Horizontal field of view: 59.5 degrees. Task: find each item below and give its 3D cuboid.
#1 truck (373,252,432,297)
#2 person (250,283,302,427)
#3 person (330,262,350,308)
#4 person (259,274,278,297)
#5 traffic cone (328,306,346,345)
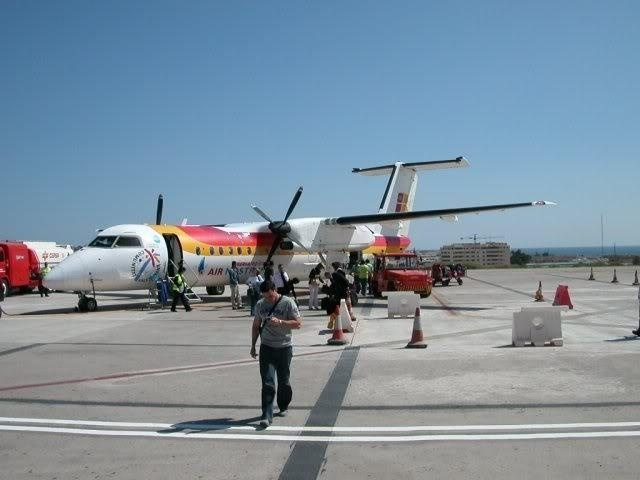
[{"bbox_3d":[3.683,1.630,25.685,1.877,1.294,2.721,1,-6,-13],"label":"truck"},{"bbox_3d":[-0.726,1.659,8.517,0.712,2.104,0.752,1,0,-41],"label":"person"},{"bbox_3d":[0.613,1.372,16.764,0.553,1.286,1.427,1,-1,1],"label":"person"},{"bbox_3d":[-0.787,0.758,8.760,0.261,0.296,0.754,1,-1,-5],"label":"person"},{"bbox_3d":[0.476,2.161,14.195,0.491,0.906,0.569,1,0,3],"label":"traffic cone"}]
